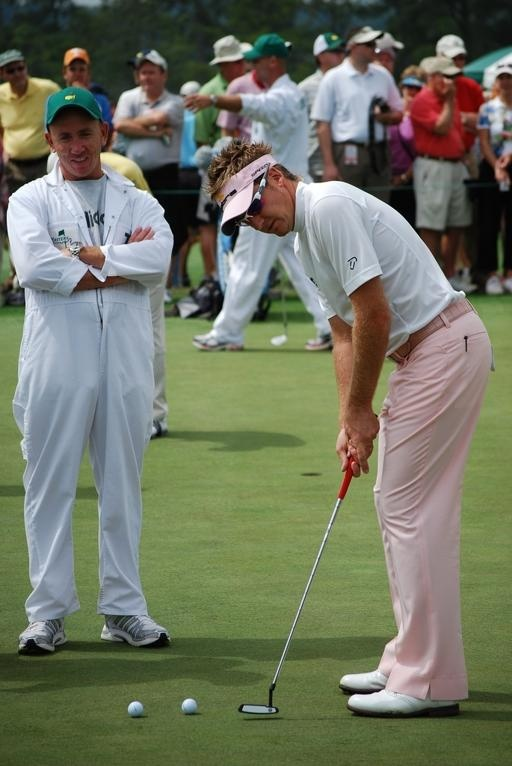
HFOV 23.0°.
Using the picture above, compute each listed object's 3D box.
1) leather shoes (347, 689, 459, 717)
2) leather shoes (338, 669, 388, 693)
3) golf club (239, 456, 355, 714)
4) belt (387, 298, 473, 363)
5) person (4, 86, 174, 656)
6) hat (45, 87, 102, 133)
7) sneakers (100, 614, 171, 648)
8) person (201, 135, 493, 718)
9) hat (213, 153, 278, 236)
[{"bbox_3d":[0.411,0.902,3.519,0.309,0.061,0.065,0,12,-1],"label":"leather shoes"},{"bbox_3d":[0.309,0.868,3.658,0.140,0.053,0.054,4,7,-2],"label":"leather shoes"},{"bbox_3d":[0.146,0.555,3.765,0.185,0.879,0.139,27,-16,-37],"label":"golf club"},{"bbox_3d":[0.502,-0.153,3.606,0.221,0.080,0.174,-37,-3,9],"label":"belt"},{"bbox_3d":[-0.532,-0.047,4.070,0.529,1.780,0.628,-1,13,-4],"label":"person"},{"bbox_3d":[-0.594,-0.900,4.095,0.177,0.135,0.240,-2,11,-7],"label":"hat"},{"bbox_3d":[-0.396,0.805,4.072,0.244,0.103,0.087,-3,-5,32],"label":"sneakers"},{"bbox_3d":[0.294,0.097,3.733,0.934,1.695,0.661,-1,-8,-2],"label":"person"},{"bbox_3d":[-0.040,-0.525,3.609,0.113,0.237,0.160,36,-27,6],"label":"hat"}]
